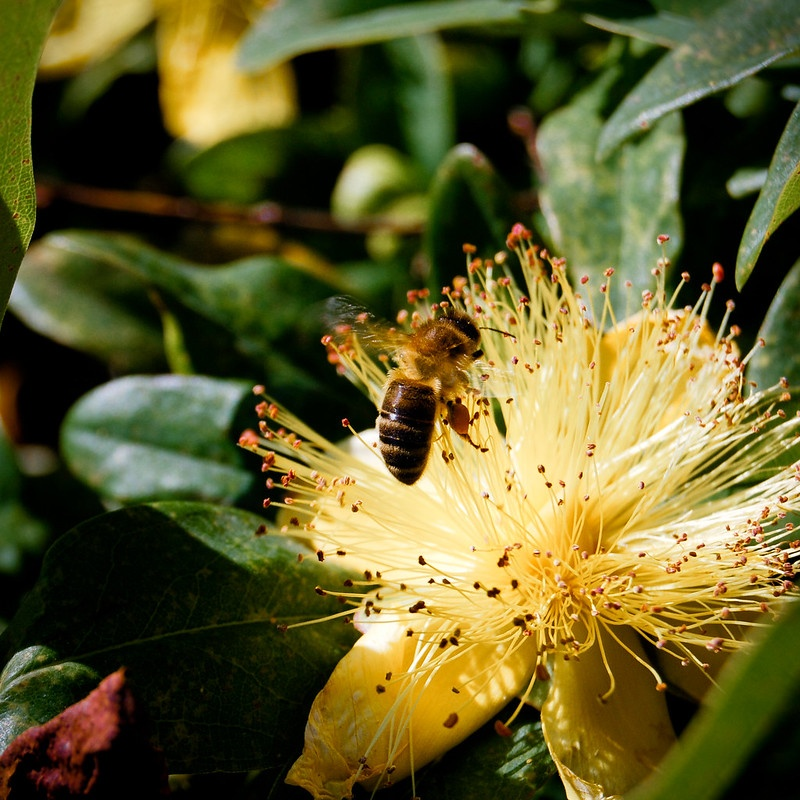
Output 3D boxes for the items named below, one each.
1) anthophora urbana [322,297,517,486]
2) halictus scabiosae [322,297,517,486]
[{"bbox_3d":[0.032,-0.010,1.085,0.226,0.137,0.232,-11,100,7],"label":"anthophora urbana"},{"bbox_3d":[0.033,-0.021,1.063,0.226,0.137,0.232,-11,100,7],"label":"halictus scabiosae"}]
